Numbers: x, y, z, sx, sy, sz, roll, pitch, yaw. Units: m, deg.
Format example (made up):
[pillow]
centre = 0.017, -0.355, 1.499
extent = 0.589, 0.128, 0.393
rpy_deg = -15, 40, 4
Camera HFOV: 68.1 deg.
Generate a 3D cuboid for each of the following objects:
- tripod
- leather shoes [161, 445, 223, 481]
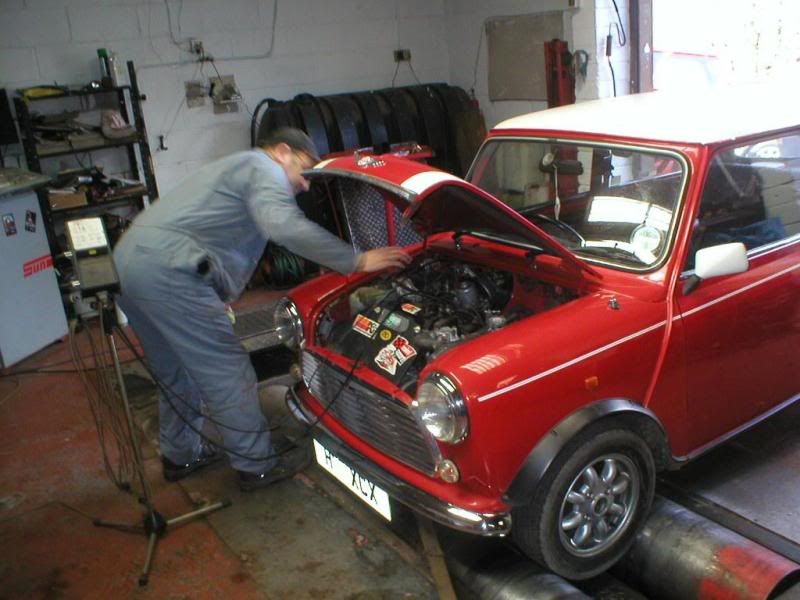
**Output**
[tripod]
centre = -1.292, 0.779, 3.266
extent = 0.633, 1.461, 0.724
rpy_deg = 28, 50, 27
[leather shoes]
centre = -1.280, 1.000, 3.598
extent = 0.334, 0.136, 0.114
rpy_deg = -29, 35, -33
